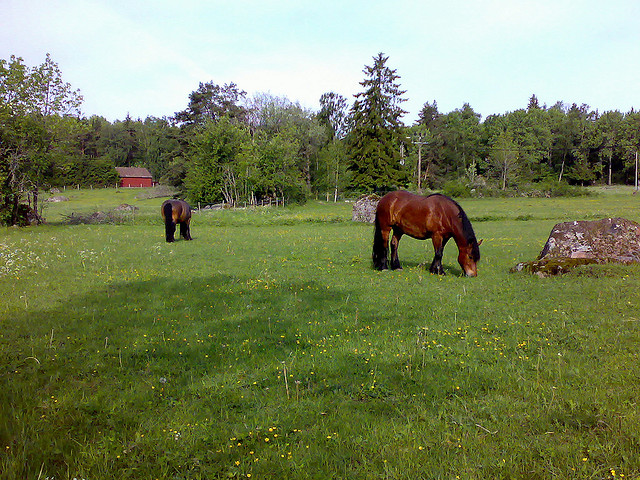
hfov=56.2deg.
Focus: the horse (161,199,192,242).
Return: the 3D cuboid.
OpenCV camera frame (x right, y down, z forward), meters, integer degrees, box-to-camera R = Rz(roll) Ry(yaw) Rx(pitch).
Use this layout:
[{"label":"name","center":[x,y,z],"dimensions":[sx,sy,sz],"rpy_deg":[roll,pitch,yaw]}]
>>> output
[{"label":"horse","center":[-8.763,-1.270,37.022],"dimensions":[1.083,2.611,4.346],"rpy_deg":[3,-1,4]}]
